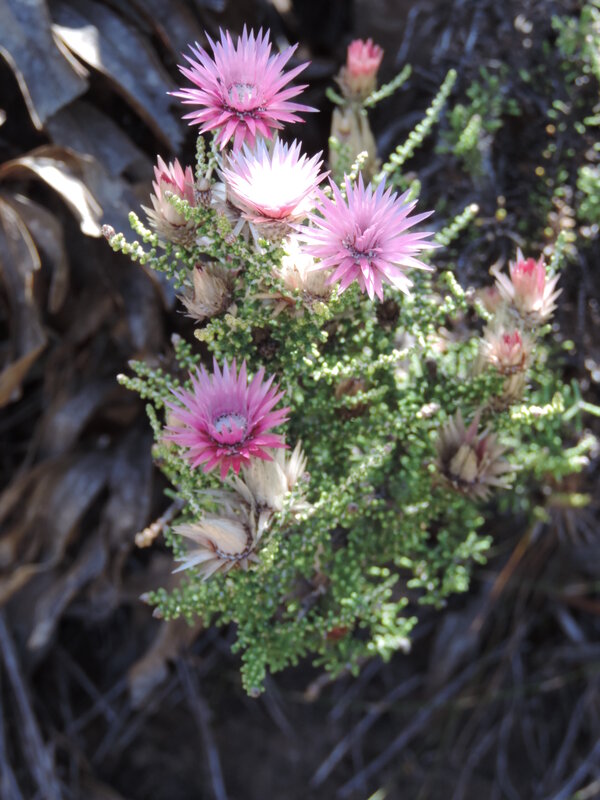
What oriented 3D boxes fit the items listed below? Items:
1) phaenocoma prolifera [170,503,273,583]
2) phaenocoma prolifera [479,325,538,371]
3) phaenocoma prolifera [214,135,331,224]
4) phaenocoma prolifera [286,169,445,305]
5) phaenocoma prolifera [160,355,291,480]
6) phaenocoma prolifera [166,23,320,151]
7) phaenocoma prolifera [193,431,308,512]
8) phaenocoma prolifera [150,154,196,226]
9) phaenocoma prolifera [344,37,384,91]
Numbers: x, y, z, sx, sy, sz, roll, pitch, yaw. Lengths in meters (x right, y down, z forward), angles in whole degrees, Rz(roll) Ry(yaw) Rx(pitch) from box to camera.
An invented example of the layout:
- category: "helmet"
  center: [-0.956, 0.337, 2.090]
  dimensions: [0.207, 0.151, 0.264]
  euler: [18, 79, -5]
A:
- category: "phaenocoma prolifera"
  center: [-0.066, 0.125, 0.747]
  dimensions: [0.077, 0.036, 0.066]
  euler: [-10, 33, 9]
- category: "phaenocoma prolifera"
  center: [0.189, -0.045, 0.770]
  dimensions: [0.048, 0.041, 0.034]
  euler: [-14, -13, -14]
- category: "phaenocoma prolifera"
  center: [-0.027, -0.178, 0.710]
  dimensions: [0.093, 0.047, 0.079]
  euler: [-2, 48, -8]
- category: "phaenocoma prolifera"
  center: [0.053, -0.146, 0.725]
  dimensions: [0.114, 0.045, 0.116]
  euler: [13, -14, -39]
- category: "phaenocoma prolifera"
  center: [-0.060, 0.014, 0.706]
  dimensions: [0.120, 0.097, 0.046]
  euler: [-11, -19, -7]
- category: "phaenocoma prolifera"
  center: [-0.048, -0.261, 0.696]
  dimensions: [0.110, 0.045, 0.102]
  euler: [-1, 43, -5]
- category: "phaenocoma prolifera"
  center: [-0.043, 0.061, 0.765]
  dimensions: [0.074, 0.037, 0.070]
  euler: [-21, -2, 34]
- category: "phaenocoma prolifera"
  center: [-0.103, -0.174, 0.717]
  dimensions: [0.033, 0.051, 0.034]
  euler: [-24, 37, -33]
- category: "phaenocoma prolifera"
  center: [0.070, -0.363, 0.921]
  dimensions: [0.048, 0.062, 0.046]
  euler: [-4, 14, -5]
